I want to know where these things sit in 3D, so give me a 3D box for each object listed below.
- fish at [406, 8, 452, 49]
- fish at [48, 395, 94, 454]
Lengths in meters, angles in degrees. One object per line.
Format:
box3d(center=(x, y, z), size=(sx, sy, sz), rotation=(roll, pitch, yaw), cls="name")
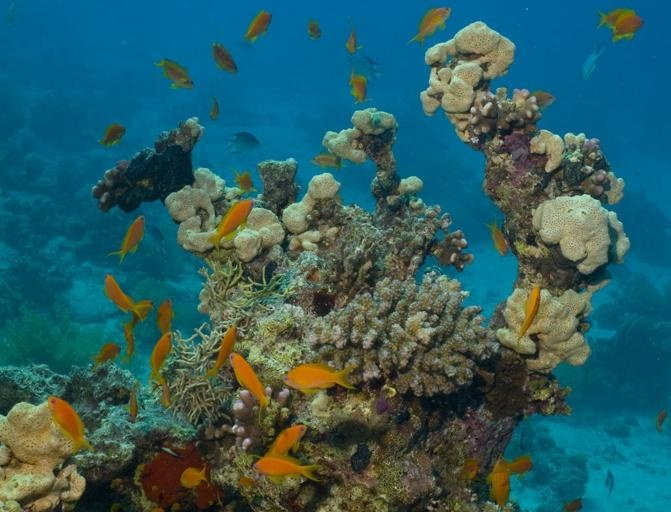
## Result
box3d(center=(4.917, -11.722, 38.540), size=(2.020, 3.168, 1.008), rotation=(-35, 69, -13), cls="fish")
box3d(center=(-12.910, 8.127, 36.410), size=(2.115, 1.640, 2.936), rotation=(-1, 97, -22), cls="fish")
